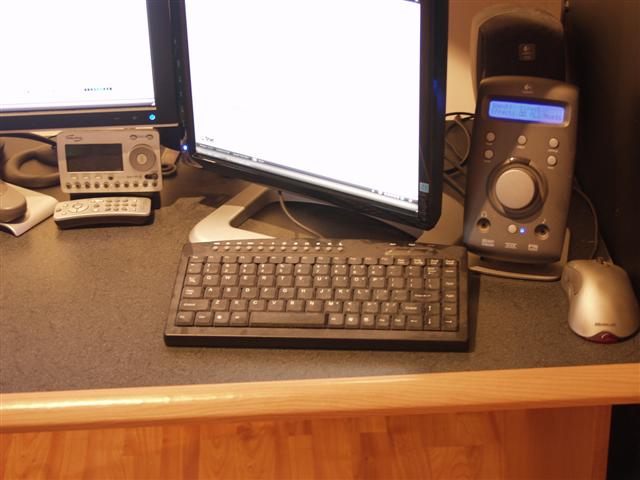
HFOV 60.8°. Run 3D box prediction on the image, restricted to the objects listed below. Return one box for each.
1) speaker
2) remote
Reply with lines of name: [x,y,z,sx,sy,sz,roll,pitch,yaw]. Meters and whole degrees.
speaker: [0.372,-0.356,1.150,0.240,0.233,0.144,3,21,12]
remote: [-0.404,-0.054,1.036,0.169,0.046,0.075,1,39,-5]
